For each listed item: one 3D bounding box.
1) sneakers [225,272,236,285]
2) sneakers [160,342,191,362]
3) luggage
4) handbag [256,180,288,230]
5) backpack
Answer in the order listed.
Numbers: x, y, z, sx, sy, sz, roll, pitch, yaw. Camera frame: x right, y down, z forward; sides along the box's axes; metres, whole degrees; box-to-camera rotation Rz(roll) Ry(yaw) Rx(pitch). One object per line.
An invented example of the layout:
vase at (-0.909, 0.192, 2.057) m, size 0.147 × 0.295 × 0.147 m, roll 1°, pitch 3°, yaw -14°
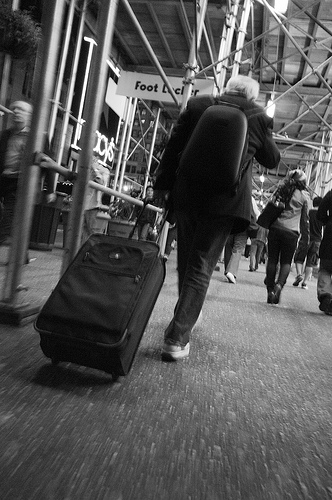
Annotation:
sneakers at (1.342, 0.550, 6.829) m, size 0.117 × 0.368 × 0.147 m, roll -22°, pitch 49°, yaw -2°
sneakers at (0.052, 0.555, 1.883) m, size 0.069 × 0.096 × 0.195 m, roll 3°, pitch 3°, yaw 23°
luggage at (-0.267, 0.221, 1.448) m, size 0.366 × 0.618 × 0.488 m, roll 7°, pitch -3°, yaw 13°
handbag at (1.691, -0.701, 5.227) m, size 0.156 × 0.676 × 0.361 m, roll 36°, pitch -14°, yaw -26°
backpack at (0.328, -0.627, 1.967) m, size 0.474 × 0.473 × 0.274 m, roll 9°, pitch -3°, yaw -1°
